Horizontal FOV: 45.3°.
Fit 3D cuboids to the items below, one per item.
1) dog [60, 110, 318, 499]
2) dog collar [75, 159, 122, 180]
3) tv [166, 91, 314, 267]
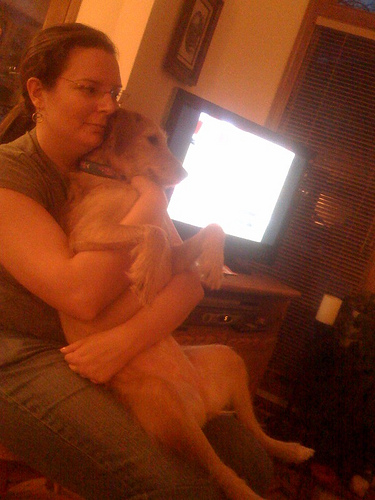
[{"bbox_3d":[-0.062,0.029,1.093,0.652,0.923,0.452,0,10,22],"label":"dog"},{"bbox_3d":[-0.144,-0.129,0.727,0.090,0.030,0.024,32,7,34],"label":"dog collar"},{"bbox_3d":[0.109,-0.203,1.316,0.558,0.365,0.057,11,7,-41],"label":"tv"}]
